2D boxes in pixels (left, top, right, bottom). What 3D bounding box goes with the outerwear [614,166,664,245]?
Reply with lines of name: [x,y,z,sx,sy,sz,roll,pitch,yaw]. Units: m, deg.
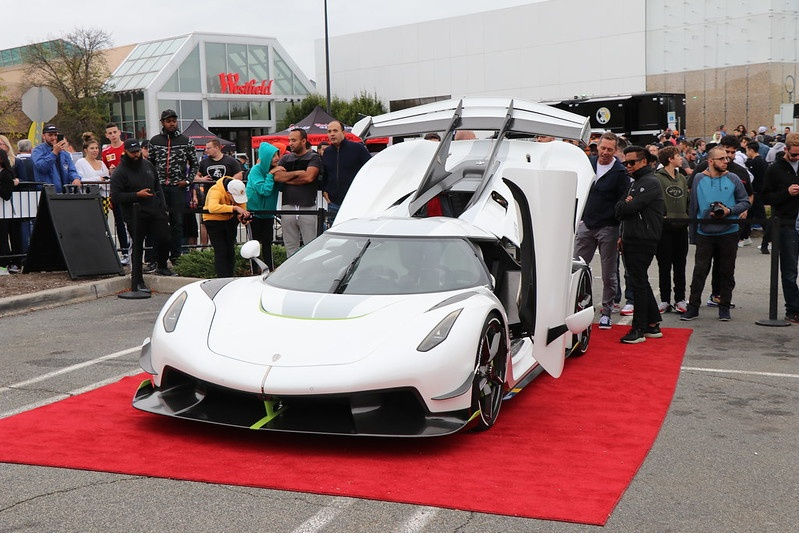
outerwear: [3.302,-0.843,9.205,0.620,1.026,0.419,3,11,17]

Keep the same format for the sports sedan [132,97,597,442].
sports sedan: [0.300,0.036,7.304,3.211,2.266,4.713,7,18,28]

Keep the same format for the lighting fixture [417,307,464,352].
lighting fixture: [0.335,0.591,5.849,0.163,0.082,0.550,19,50,30]

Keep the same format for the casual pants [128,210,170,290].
casual pants: [-4.413,-0.242,11.769,0.669,1.673,0.535,1,-32,-19]

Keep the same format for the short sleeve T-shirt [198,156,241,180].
short sleeve T-shirt: [-3.457,-1.862,12.804,0.737,0.622,0.336,0,-15,12]

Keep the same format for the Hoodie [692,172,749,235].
Hoodie: [4.957,-0.976,10.437,0.980,1.141,0.662,-1,-9,24]

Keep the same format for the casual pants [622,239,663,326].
casual pants: [3.305,0.290,9.181,0.527,1.285,0.432,3,11,17]

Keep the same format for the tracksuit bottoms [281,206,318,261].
tracksuit bottoms: [-1.582,-0.563,10.537,0.598,0.456,1.374,11,-33,-5]

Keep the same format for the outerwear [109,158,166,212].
outerwear: [-4.557,-1.391,11.633,0.637,0.952,0.760,10,28,34]

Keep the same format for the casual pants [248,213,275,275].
casual pants: [-2.374,-0.427,11.490,0.294,1.063,0.215,1,-22,-39]

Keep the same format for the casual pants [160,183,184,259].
casual pants: [-4.517,-0.902,13.203,0.507,1.559,0.359,3,17,-16]

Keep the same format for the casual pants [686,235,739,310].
casual pants: [4.822,0.084,10.342,0.607,1.197,0.554,5,12,25]

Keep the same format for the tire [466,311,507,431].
tire: [0.775,0.944,6.150,0.185,0.755,0.845,3,30,22]

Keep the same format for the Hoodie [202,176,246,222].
Hoodie: [-2.803,-1.085,10.798,0.693,0.720,0.995,-10,20,-34]
